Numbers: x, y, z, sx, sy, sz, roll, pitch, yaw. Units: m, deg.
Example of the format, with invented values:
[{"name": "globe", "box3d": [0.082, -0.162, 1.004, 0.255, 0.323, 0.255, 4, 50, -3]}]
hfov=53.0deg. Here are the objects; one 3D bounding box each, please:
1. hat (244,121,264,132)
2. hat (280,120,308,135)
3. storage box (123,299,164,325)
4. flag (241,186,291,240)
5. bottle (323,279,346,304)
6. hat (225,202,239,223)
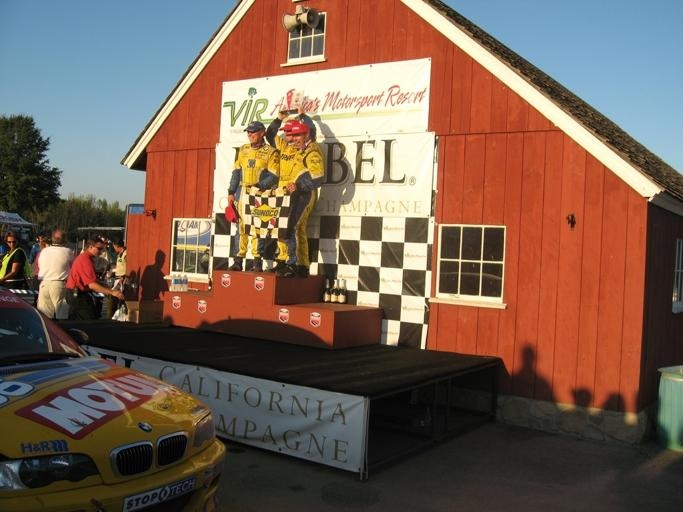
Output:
[{"name": "hat", "box3d": [-1.369, -2.097, 11.112, 0.177, 0.140, 0.257, 0, -2, 33]}, {"name": "hat", "box3d": [-0.709, -1.961, 10.485, 0.293, 0.122, 0.219, 14, 18, 35]}, {"name": "storage box", "box3d": [-3.354, 0.923, 11.714, 0.415, 0.349, 0.429, 1, 3, -21]}, {"name": "flag", "box3d": [-1.150, -0.700, 10.688, 0.700, 0.652, 0.058, 9, 11, 40]}, {"name": "bottle", "box3d": [-0.103, 0.502, 10.683, 0.376, 0.367, 0.245, 4, 6, 16]}, {"name": "hat", "box3d": [-1.835, -0.730, 11.502, 0.178, 0.336, 0.079, 0, 24, 21]}]
